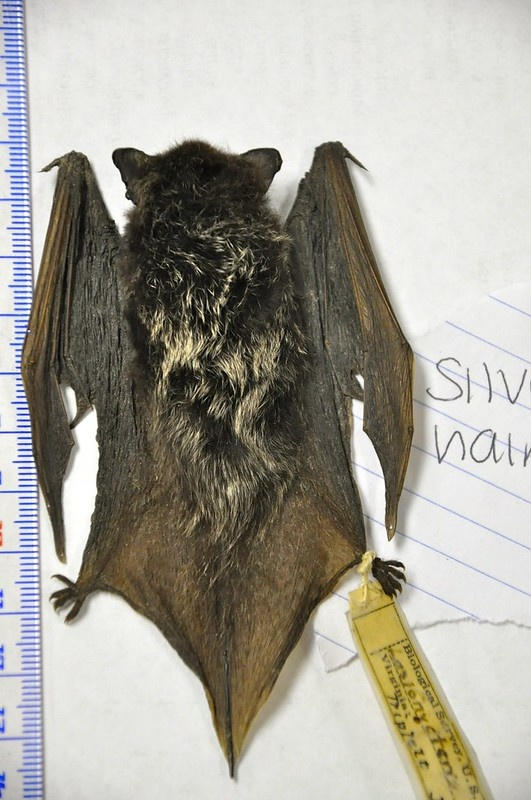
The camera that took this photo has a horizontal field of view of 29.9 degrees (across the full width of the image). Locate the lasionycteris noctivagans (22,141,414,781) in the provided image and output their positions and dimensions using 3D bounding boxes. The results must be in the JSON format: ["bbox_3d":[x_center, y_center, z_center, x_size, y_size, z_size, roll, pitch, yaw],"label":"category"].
[{"bbox_3d":[-0.141,0.097,2.858,0.969,0.467,1.578,-1,-86,-3],"label":"lasionycteris noctivagans"}]
